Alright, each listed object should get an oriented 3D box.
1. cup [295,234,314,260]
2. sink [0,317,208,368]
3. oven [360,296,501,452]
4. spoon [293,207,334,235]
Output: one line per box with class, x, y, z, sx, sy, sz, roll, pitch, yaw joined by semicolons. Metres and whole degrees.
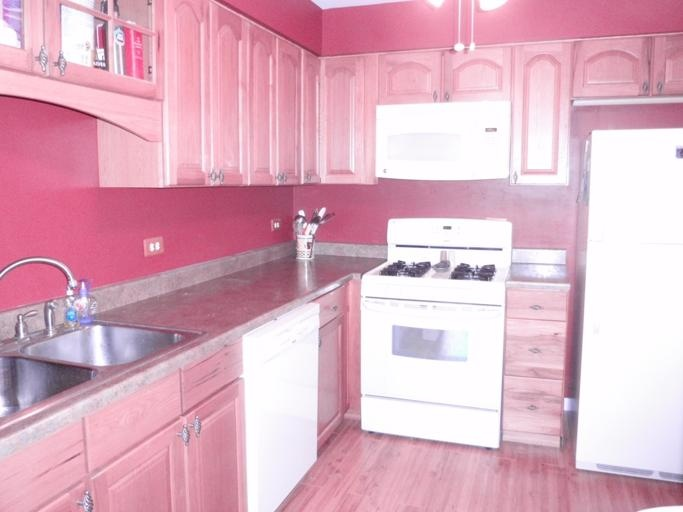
cup;-0.264;-0.064;3.849;0.156;0.176;0.150;1;13;0
sink;-1.037;0.307;2.076;0.288;0.150;0.372;4;7;17
oven;0.610;0.612;3.373;0.901;0.995;0.723;0;12;12
spoon;-0.228;-0.291;3.850;0.228;0.263;0.109;22;-11;-41
